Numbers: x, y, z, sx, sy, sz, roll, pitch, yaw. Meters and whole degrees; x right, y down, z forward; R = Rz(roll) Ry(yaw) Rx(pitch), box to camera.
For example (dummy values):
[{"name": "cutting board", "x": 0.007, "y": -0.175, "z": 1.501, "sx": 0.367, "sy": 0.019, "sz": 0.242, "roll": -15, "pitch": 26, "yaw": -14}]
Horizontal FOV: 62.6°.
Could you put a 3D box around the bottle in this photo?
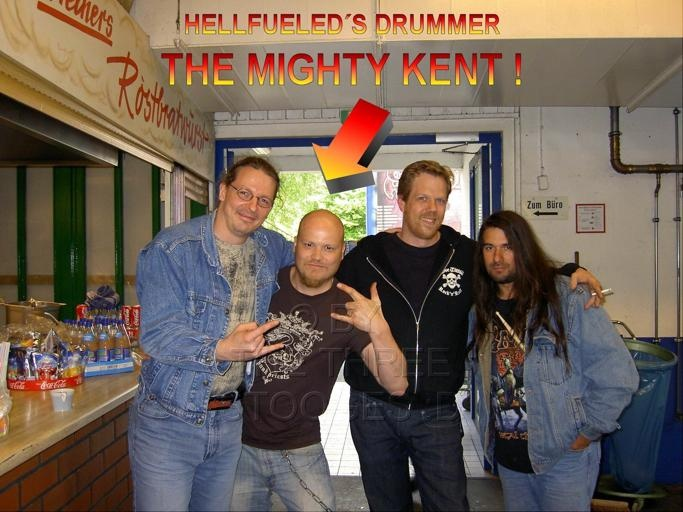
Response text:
[{"name": "bottle", "x": -1.737, "y": 0.561, "z": 4.028, "sx": 0.400, "sy": 0.387, "sz": 0.399, "roll": 1, "pitch": 4, "yaw": -12}]

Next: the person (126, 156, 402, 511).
[{"name": "person", "x": -0.627, "y": 0.392, "z": 2.792, "sx": 0.783, "sy": 1.823, "sz": 0.606, "roll": 2, "pitch": -3, "yaw": -21}]

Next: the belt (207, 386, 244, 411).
[{"name": "belt", "x": -0.587, "y": 0.712, "z": 2.838, "sx": 0.127, "sy": 0.047, "sz": 0.096, "roll": -15, "pitch": 0, "yaw": -24}]

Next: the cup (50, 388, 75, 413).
[{"name": "cup", "x": -1.597, "y": 0.824, "z": 3.208, "sx": 0.112, "sy": 0.126, "sz": 0.125, "roll": 2, "pitch": -2, "yaw": -27}]
